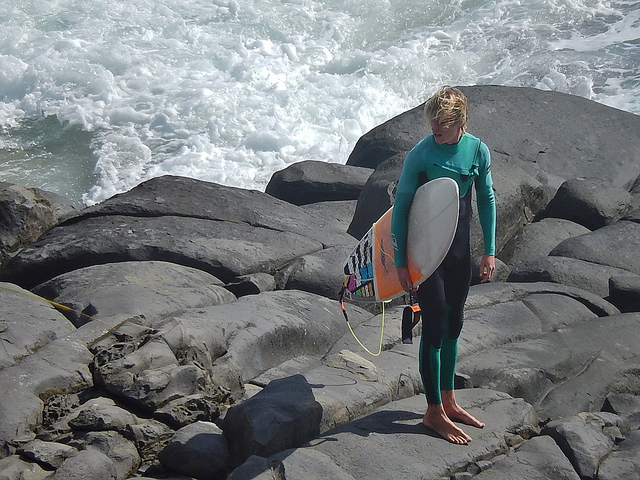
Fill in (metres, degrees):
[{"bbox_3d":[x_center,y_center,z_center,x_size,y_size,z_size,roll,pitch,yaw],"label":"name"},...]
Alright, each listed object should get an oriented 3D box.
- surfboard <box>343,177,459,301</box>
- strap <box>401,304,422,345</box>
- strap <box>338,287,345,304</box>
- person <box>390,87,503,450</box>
[{"bbox_3d":[0.658,0.201,8.571,0.551,2.629,0.772,-30,79,-24],"label":"surfboard"},{"bbox_3d":[0.898,0.783,8.212,0.188,0.326,0.198,-10,6,-42],"label":"strap"},{"bbox_3d":[0.227,0.603,9.070,0.042,0.184,0.015,30,50,12],"label":"strap"},{"bbox_3d":[1.150,0.210,8.026,0.973,3.028,1.492,1,27,8],"label":"person"}]
